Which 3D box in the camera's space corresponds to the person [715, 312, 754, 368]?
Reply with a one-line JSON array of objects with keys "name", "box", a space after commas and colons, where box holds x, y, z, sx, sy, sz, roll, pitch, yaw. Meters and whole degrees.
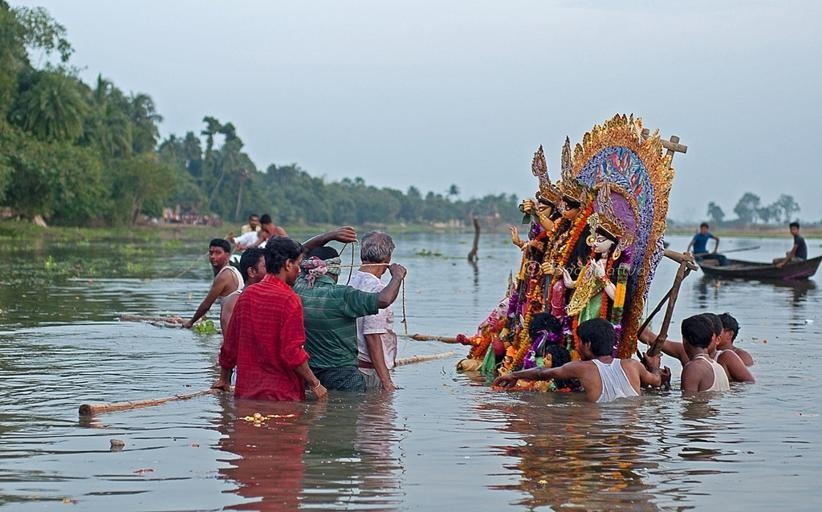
[{"name": "person", "box": [8.560, 2.345, 39.314, 0.964, 1.427, 1.625, 11, 4, 3]}]
